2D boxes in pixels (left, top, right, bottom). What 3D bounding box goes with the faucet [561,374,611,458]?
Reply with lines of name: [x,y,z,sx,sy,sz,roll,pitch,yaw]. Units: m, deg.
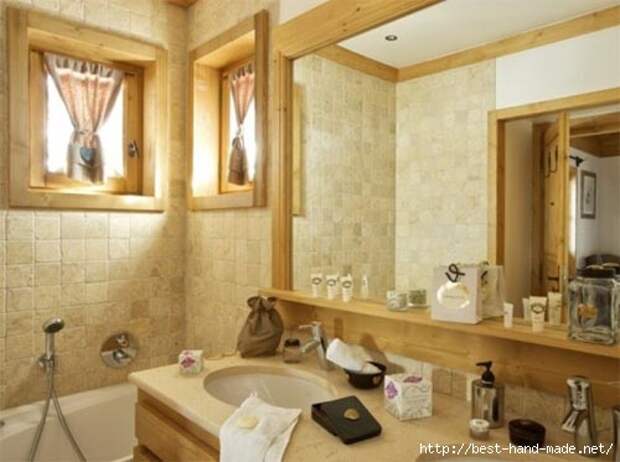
faucet: [0.853,0.586,1.455,0.119,0.236,0.077,3,10,23]

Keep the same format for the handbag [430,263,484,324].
handbag: [0.553,0.234,1.723,0.214,0.274,0.099,-2,-4,39]

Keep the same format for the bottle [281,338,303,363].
bottle: [-0.077,0.564,2.192,0.085,0.088,0.093,0,-4,24]

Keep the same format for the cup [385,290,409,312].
cup: [0.359,0.285,1.901,0.078,0.067,0.078,-2,-7,0]

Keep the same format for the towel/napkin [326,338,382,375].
towel/napkin: [0.164,0.515,1.927,0.290,0.121,0.095,28,-23,-21]

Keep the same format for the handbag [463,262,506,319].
handbag: [0.665,0.225,1.782,0.072,0.202,0.205,5,1,-8]

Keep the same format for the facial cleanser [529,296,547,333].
facial cleanser: [0.785,0.285,1.606,0.055,0.121,0.046,4,10,27]

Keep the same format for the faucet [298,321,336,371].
faucet: [0.033,0.521,2.088,0.156,0.228,0.074,-13,11,-30]

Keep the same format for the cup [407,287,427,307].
cup: [0.433,0.264,1.883,0.071,0.064,0.073,0,2,0]

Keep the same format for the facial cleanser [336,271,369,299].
facial cleanser: [0.197,0.239,2.073,0.129,0.115,0.051,0,0,32]

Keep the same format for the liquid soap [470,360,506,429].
liquid soap: [0.627,0.567,1.637,0.108,0.205,0.111,-1,1,15]

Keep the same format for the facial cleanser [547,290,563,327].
facial cleanser: [0.836,0.265,1.590,0.048,0.123,0.020,4,10,28]

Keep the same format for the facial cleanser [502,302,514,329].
facial cleanser: [0.705,0.299,1.648,0.034,0.084,0.045,2,10,20]
